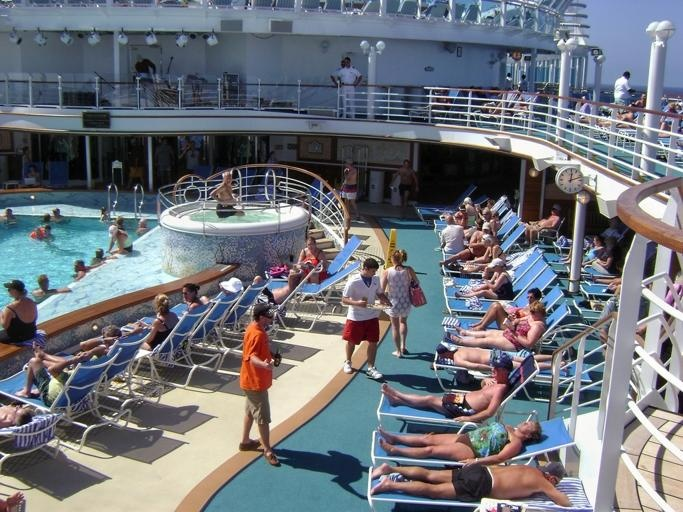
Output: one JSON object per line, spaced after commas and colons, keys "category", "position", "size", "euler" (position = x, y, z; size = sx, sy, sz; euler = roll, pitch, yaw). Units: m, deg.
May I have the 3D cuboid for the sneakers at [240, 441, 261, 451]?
{"category": "sneakers", "position": [-1.091, 2.269, 6.778], "size": [0.263, 0.103, 0.103], "euler": [0, 27, -21]}

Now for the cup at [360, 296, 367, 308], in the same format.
{"category": "cup", "position": [0.296, 0.649, 7.927], "size": [0.102, 0.107, 0.107], "euler": [0, 5, 0]}

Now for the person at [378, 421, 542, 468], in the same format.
{"category": "person", "position": [1.258, 1.960, 5.969], "size": [1.219, 0.324, 0.666], "euler": [0, 3, 6]}

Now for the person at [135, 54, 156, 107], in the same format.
{"category": "person", "position": [-6.734, -5.914, 19.151], "size": [0.666, 1.839, 0.519], "euler": [-9, -10, 32]}

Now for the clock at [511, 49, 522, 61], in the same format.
{"category": "clock", "position": [7.497, -8.515, 24.173], "size": [0.496, 0.543, 0.472], "euler": [-2, -2, 3]}

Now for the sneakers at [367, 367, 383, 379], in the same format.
{"category": "sneakers", "position": [0.508, 1.734, 8.451], "size": [0.281, 0.126, 0.122], "euler": [13, 20, 34]}

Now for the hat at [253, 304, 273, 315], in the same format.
{"category": "hat", "position": [-0.860, 0.582, 6.225], "size": [0.155, 0.116, 0.144], "euler": [-25, -30, 15]}

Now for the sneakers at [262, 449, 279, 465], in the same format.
{"category": "sneakers", "position": [-0.829, 2.316, 6.617], "size": [0.098, 0.087, 0.266], "euler": [-6, 14, -31]}

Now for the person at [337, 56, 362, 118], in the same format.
{"category": "person", "position": [0.222, -5.689, 19.223], "size": [0.745, 1.965, 1.039], "euler": [1, 9, -3]}

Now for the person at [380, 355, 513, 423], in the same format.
{"category": "person", "position": [1.266, 1.612, 6.929], "size": [1.436, 0.810, 0.724], "euler": [-4, 9, 6]}

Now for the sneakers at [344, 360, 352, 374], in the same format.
{"category": "sneakers", "position": [0.095, 1.687, 8.635], "size": [0.083, 0.101, 0.242], "euler": [2, 7, -4]}

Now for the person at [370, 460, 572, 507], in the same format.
{"category": "person", "position": [1.216, 2.193, 5.486], "size": [1.184, 0.194, 0.714], "euler": [-6, 8, 8]}
